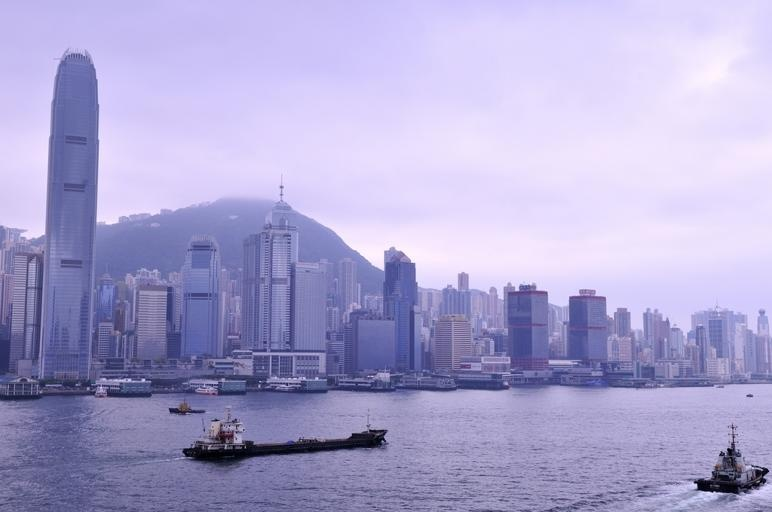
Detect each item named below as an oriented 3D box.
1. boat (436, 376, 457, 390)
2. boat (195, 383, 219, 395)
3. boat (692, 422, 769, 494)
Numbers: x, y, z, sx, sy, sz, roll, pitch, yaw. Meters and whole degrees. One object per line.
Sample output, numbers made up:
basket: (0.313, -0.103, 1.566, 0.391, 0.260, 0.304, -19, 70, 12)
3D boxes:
boat: (24.793, 49.476, 536.719, 7.360, 4.800, 52.347, 1, 1, 4)
boat: (-60.302, 43.804, 451.611, 2.854, 2.929, 9.442, 9, -5, -44)
boat: (73.333, 42.304, 284.552, 14.762, 13.356, 6.239, 0, 2, -29)
